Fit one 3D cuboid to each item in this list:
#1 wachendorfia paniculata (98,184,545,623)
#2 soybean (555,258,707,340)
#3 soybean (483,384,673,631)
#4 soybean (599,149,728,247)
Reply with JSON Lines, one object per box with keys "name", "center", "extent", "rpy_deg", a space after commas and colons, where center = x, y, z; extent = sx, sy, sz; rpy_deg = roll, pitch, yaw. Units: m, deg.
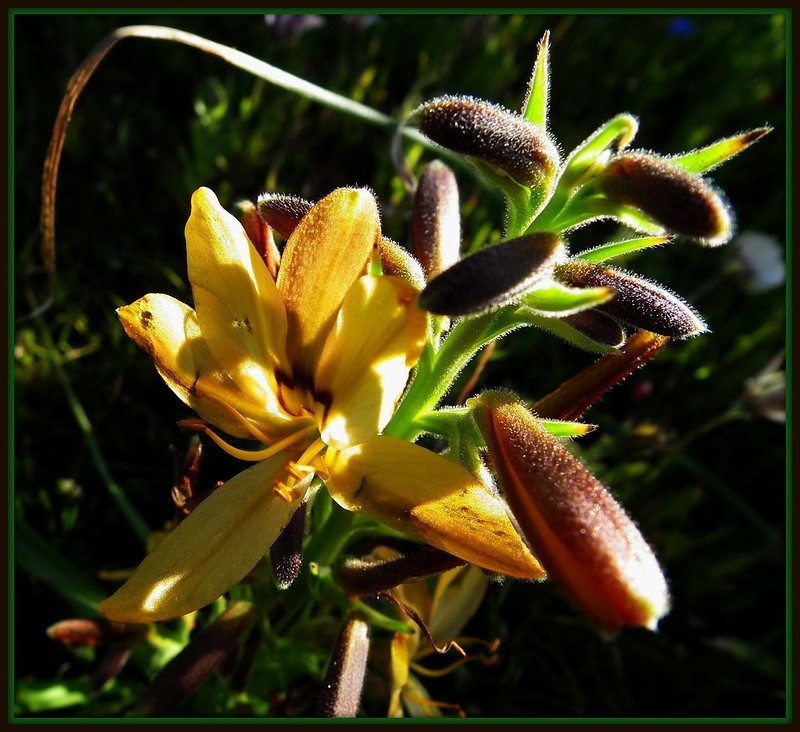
{"name": "wachendorfia paniculata", "center": [-0.103, 0.066, 1.245], "extent": [0.518, 0.506, 0.427], "rpy_deg": [5, 38, -17]}
{"name": "soybean", "center": [0.294, -0.087, 1.230], "extent": [0.211, 0.063, 0.088], "rpy_deg": [9, 37, -12]}
{"name": "soybean", "center": [0.203, 0.186, 1.197], "extent": [0.122, 0.129, 0.365], "rpy_deg": [-31, 57, -1]}
{"name": "soybean", "center": [0.318, -0.204, 1.156], "extent": [0.082, 0.067, 0.177], "rpy_deg": [-16, 47, -37]}
